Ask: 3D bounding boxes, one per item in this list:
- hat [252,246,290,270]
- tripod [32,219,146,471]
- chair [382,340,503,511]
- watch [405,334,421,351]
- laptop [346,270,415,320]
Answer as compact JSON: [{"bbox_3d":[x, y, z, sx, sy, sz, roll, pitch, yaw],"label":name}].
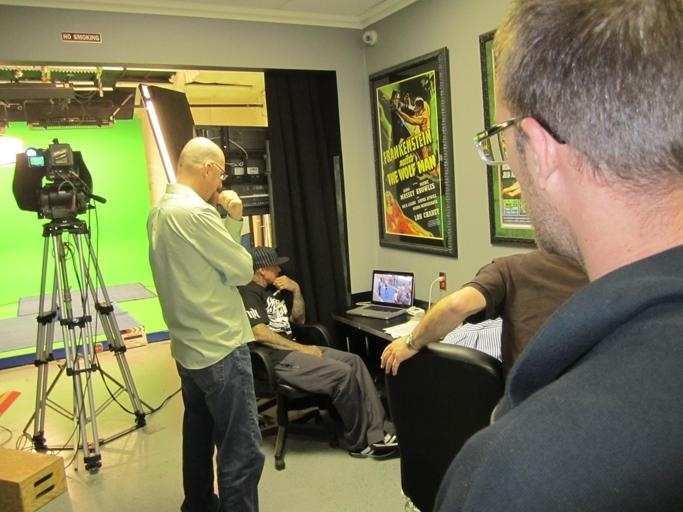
[{"bbox_3d":[-0.494,0.007,3.529,0.200,0.104,0.132,-9,17,-19],"label":"hat"},{"bbox_3d":[-1.561,0.491,3.138,0.671,1.477,0.571,-8,9,-33],"label":"tripod"},{"bbox_3d":[0.305,0.477,1.816,0.398,0.578,0.488,5,7,31],"label":"chair"},{"bbox_3d":[0.243,0.294,1.793,0.015,0.038,0.033,-39,2,14],"label":"watch"},{"bbox_3d":[0.261,0.261,3.646,0.400,0.275,0.368,2,6,26],"label":"laptop"}]
